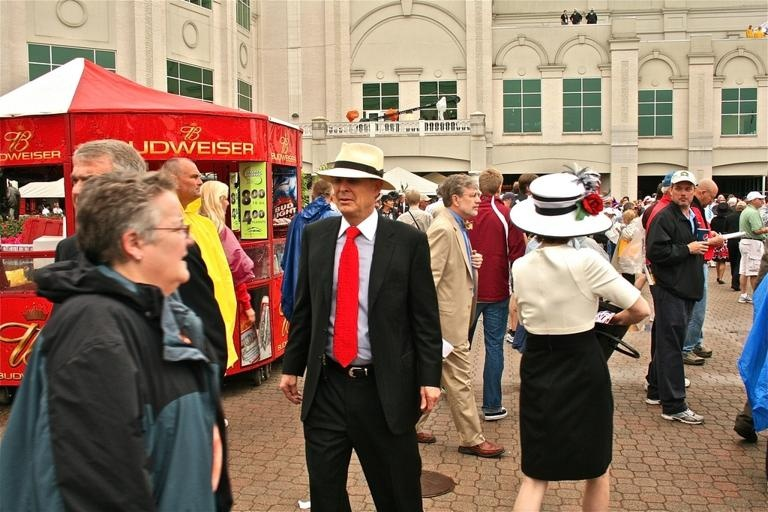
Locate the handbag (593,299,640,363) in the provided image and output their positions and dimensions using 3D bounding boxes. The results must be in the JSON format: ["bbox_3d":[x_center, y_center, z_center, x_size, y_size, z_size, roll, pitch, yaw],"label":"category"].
[{"bbox_3d":[1.926,0.585,6.288,0.283,0.538,0.544,2,10,35],"label":"handbag"}]

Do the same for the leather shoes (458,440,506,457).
[{"bbox_3d":[0.981,1.894,7.703,0.378,0.145,0.165,-1,-1,11],"label":"leather shoes"}]

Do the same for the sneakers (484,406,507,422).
[{"bbox_3d":[1.232,1.740,8.568,0.276,0.116,0.113,-8,10,-15],"label":"sneakers"}]

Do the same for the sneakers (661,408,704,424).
[{"bbox_3d":[3.284,1.734,8.475,0.411,0.177,0.154,-1,0,15],"label":"sneakers"}]

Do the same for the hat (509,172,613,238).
[{"bbox_3d":[1.409,-0.384,6.087,0.640,0.304,0.606,-11,23,-14],"label":"hat"}]

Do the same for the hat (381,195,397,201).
[{"bbox_3d":[0.120,-1.297,16.852,0.245,0.108,0.350,-6,-3,-32],"label":"hat"}]

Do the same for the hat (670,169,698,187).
[{"bbox_3d":[3.337,-0.895,8.589,0.222,0.156,0.311,5,-1,12],"label":"hat"}]

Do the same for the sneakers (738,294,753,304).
[{"bbox_3d":[7.488,0.882,15.975,0.388,0.165,0.137,-3,5,-44],"label":"sneakers"}]

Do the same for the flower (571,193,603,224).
[{"bbox_3d":[1.600,-0.389,6.073,0.224,0.199,0.098,-16,8,11],"label":"flower"}]

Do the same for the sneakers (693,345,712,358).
[{"bbox_3d":[4.527,1.368,11.076,0.309,0.123,0.119,-1,4,16],"label":"sneakers"}]

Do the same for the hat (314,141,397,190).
[{"bbox_3d":[-0.152,-0.694,5.866,0.473,0.230,0.416,-3,9,-39],"label":"hat"}]
